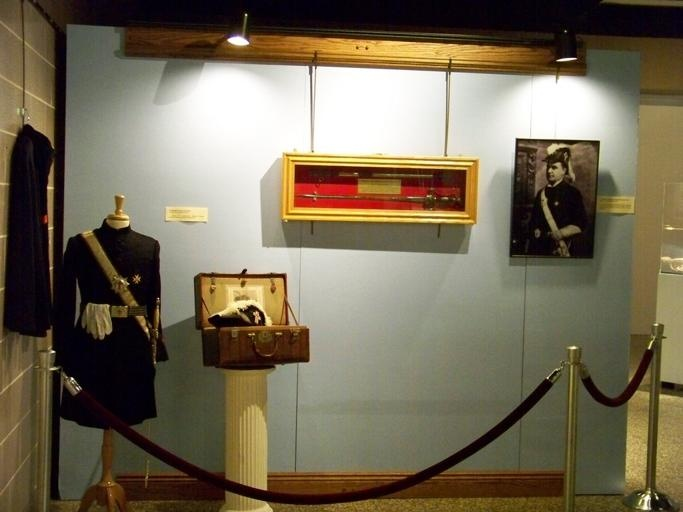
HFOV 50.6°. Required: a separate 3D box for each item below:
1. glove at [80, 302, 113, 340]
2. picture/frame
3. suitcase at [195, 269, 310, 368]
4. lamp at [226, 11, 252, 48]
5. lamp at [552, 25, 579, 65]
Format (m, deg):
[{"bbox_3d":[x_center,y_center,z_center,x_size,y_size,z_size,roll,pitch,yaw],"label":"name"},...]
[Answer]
[{"bbox_3d":[-1.719,0.450,4.998,0.184,0.254,0.068,3,-2,1],"label":"glove"},{"bbox_3d":[1.669,-0.496,5.771,0.754,1.268,0.044,1,3,-7],"label":"picture/frame"},{"bbox_3d":[-0.655,0.456,5.162,0.769,0.761,0.689,5,-13,-42],"label":"suitcase"},{"bbox_3d":[-0.763,-1.700,5.265,0.181,0.322,0.188,-3,-33,-5],"label":"lamp"},{"bbox_3d":[1.698,-1.613,5.478,0.148,0.245,0.149,1,2,18],"label":"lamp"}]
